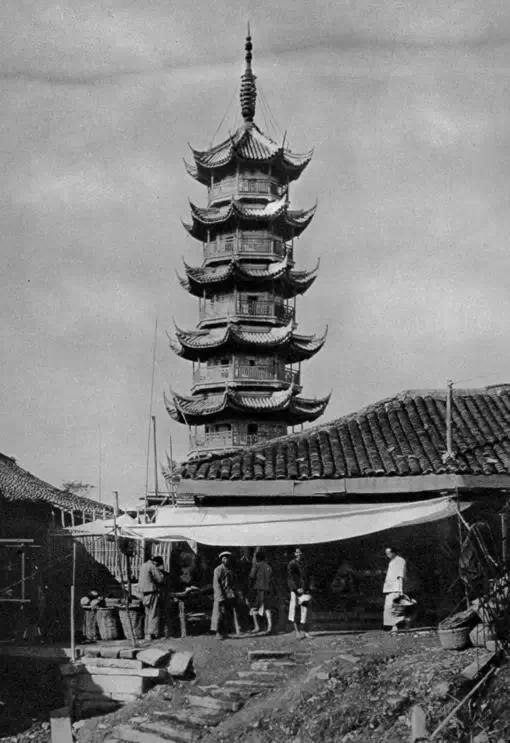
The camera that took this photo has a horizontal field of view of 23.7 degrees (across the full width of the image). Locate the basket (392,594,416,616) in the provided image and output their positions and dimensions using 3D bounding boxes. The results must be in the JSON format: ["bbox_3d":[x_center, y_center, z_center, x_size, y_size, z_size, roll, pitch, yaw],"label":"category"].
[{"bbox_3d":[1.911,3.014,15.498,0.324,0.252,0.235,8,6,-2],"label":"basket"}]

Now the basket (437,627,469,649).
[{"bbox_3d":[2.223,3.023,13.553,0.256,0.193,0.269,-1,-16,5],"label":"basket"}]
